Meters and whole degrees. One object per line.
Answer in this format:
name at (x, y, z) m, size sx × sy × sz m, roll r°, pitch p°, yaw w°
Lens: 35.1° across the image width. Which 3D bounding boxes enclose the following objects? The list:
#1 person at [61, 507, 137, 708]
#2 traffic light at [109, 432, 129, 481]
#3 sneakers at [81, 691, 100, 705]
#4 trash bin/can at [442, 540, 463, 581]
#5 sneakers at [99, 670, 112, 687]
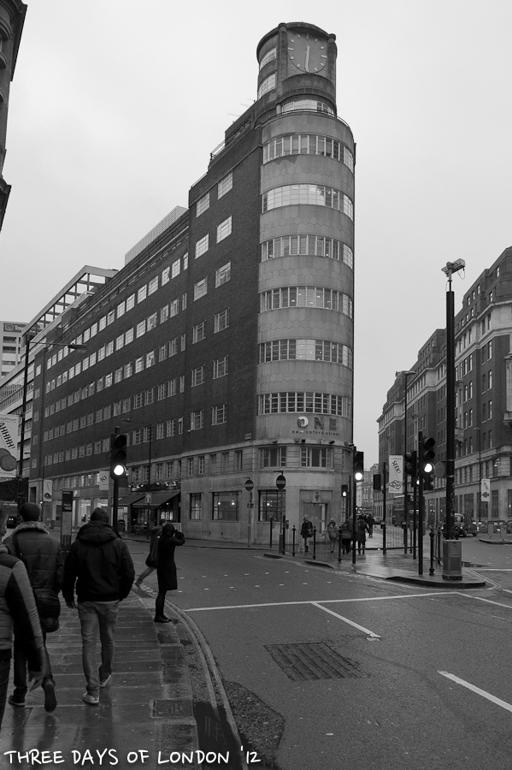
person at (-1.414, 1.921, 7.293) m, size 0.677 × 1.627 × 0.960 m, roll 6°, pitch -10°, yaw -35°
traffic light at (-2.466, 1.304, 14.649) m, size 0.273 × 0.898 × 0.869 m, roll 2°, pitch -10°, yaw -10°
sneakers at (-1.342, 2.586, 6.664) m, size 0.123 × 0.086 × 0.177 m, roll 3°, pitch -11°, yaw -12°
trash bin/can at (4.677, 4.231, 19.553) m, size 0.429 × 0.974 × 0.604 m, roll -1°, pitch -9°, yaw 11°
sneakers at (-1.339, 2.660, 7.301) m, size 0.077 × 0.128 × 0.108 m, roll 3°, pitch -4°, yaw 25°
